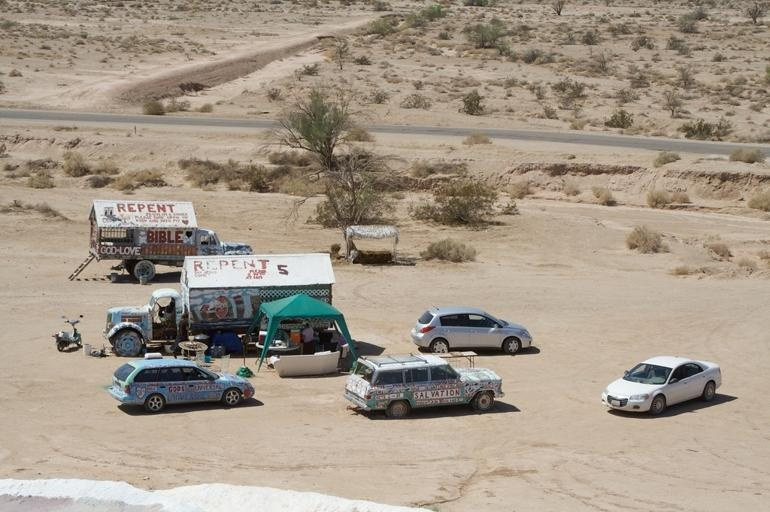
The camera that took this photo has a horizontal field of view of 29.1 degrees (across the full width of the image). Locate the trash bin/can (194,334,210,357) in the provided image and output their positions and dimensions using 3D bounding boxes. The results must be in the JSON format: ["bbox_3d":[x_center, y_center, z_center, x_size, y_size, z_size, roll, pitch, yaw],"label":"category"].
[{"bbox_3d":[-12.397,6.059,101.276,1.226,1.254,1.155,-6,24,-21],"label":"trash bin/can"}]

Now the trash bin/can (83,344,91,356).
[{"bbox_3d":[-20.071,6.360,100.882,0.687,0.703,0.651,8,14,13],"label":"trash bin/can"}]

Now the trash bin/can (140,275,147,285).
[{"bbox_3d":[-17.803,1.808,109.680,0.610,0.541,0.557,2,15,0],"label":"trash bin/can"}]

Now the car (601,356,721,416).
[{"bbox_3d":[18.479,8.417,100.021,9.136,2.779,4.049,-8,12,-39],"label":"car"}]

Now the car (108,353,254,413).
[{"bbox_3d":[-13.373,8.528,98.214,8.869,2.824,3.778,-2,16,-14],"label":"car"}]

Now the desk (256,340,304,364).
[{"bbox_3d":[-7.036,6.280,101.064,2.103,0.691,2.005,3,4,14],"label":"desk"}]

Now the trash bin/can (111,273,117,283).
[{"bbox_3d":[-20.042,1.695,110.079,0.620,0.574,0.583,0,4,-9],"label":"trash bin/can"}]
